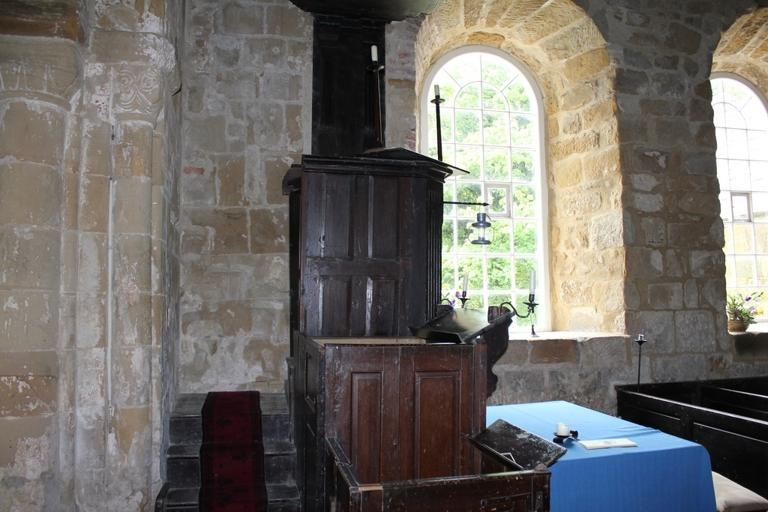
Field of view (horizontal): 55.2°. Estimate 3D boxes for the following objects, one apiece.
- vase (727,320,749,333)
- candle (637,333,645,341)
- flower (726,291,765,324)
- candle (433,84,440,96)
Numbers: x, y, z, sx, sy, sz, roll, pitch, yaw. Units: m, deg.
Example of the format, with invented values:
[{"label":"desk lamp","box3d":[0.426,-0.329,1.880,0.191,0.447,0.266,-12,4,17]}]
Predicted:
[{"label":"vase","box3d":[3.315,0.654,6.851,0.162,0.117,0.165,1,-8,7]},{"label":"candle","box3d":[2.192,0.689,6.263,0.065,0.063,0.037,3,-7,-34]},{"label":"flower","box3d":[3.456,0.483,7.041,0.369,0.274,0.398,-3,8,10]},{"label":"candle","box3d":[0.407,-1.271,5.660,0.022,0.105,0.057,0,-5,-9]}]
